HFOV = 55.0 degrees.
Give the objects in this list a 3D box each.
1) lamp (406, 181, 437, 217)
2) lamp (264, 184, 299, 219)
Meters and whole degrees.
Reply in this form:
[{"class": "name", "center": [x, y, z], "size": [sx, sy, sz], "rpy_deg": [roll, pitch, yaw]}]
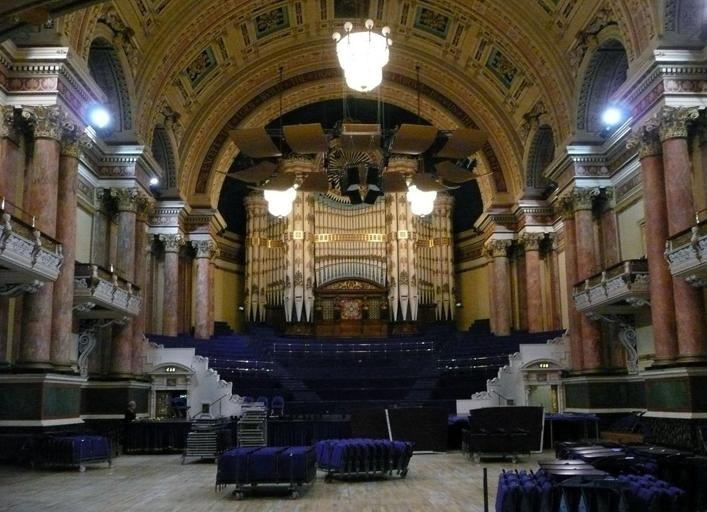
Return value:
[{"class": "lamp", "center": [1.824, -1.634, 18.540], "size": [0.947, 0.972, 0.926], "rpy_deg": [0, -12, -3]}, {"class": "lamp", "center": [-2.082, -1.593, 18.986], "size": [0.807, 0.723, 1.859], "rpy_deg": [1, -16, -7]}]
